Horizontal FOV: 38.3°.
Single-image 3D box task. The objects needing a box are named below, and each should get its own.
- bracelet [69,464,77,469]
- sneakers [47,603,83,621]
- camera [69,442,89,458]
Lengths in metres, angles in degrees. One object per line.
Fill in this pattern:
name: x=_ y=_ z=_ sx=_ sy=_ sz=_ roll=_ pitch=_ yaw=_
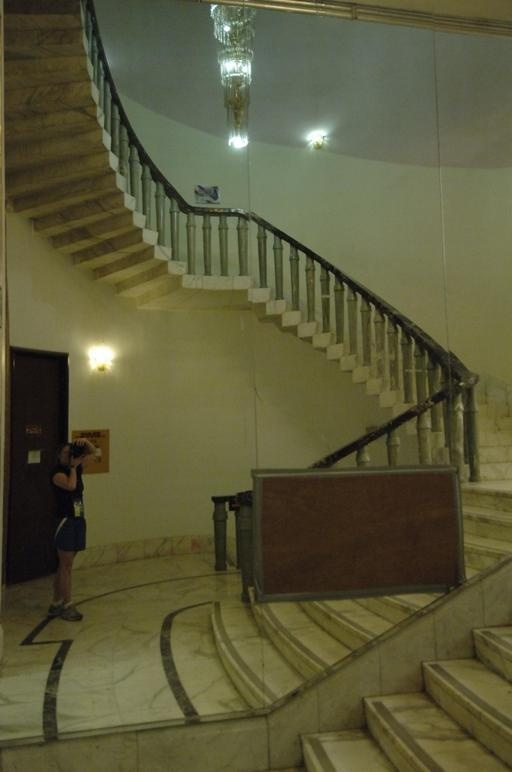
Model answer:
bracelet: x=-0.741 y=0.325 z=2.999 sx=0.016 sy=0.013 sz=0.016 roll=2 pitch=1 yaw=-3
sneakers: x=-0.757 y=0.898 z=2.929 sx=0.125 sy=0.057 sz=0.060 roll=6 pitch=-10 yaw=-11
camera: x=-0.720 y=0.258 z=3.003 sx=0.046 sy=0.087 sz=0.025 roll=4 pitch=-5 yaw=-5
